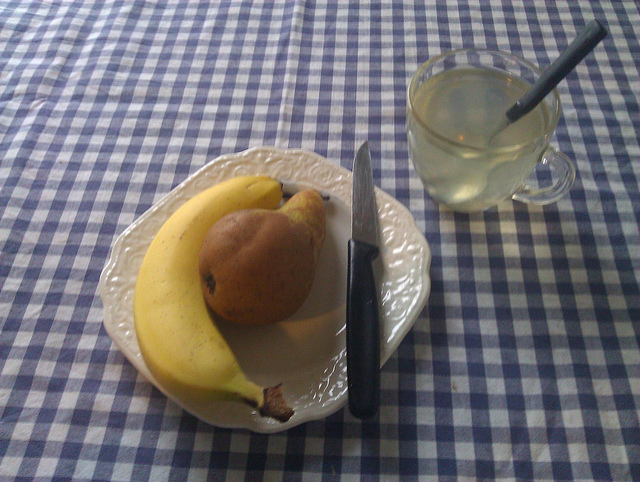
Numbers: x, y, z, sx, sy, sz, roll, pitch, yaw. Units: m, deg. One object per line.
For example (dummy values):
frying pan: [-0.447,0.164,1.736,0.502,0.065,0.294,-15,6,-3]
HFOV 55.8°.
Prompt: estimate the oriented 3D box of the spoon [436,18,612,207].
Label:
spoon: [0.354,-0.205,1.027,0.109,0.111,0.373,35,-74,-8]
